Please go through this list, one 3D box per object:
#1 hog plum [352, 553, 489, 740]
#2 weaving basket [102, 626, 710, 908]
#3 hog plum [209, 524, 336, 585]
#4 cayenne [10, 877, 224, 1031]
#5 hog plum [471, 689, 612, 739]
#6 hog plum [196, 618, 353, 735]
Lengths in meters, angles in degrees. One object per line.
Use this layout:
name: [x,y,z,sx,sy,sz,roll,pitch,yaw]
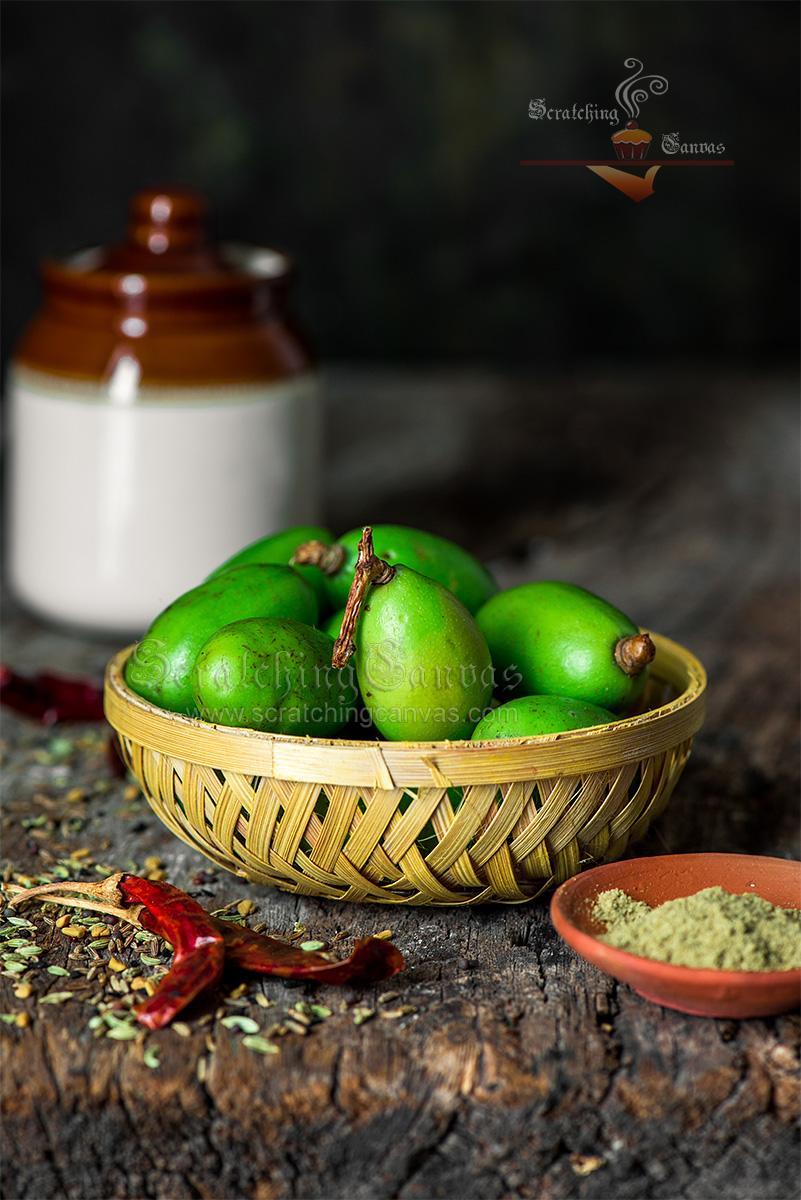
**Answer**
hog plum: [-0.002,0.006,0.457,0.053,0.042,0.069,-11,36,0]
weaving basket: [-0.008,0.043,0.446,0.135,0.039,0.129,4,8,37]
hog plum: [-0.062,-0.024,0.561,0.071,0.020,0.024,-19,-9,-40]
cayenne: [-0.093,0.125,0.437,0.042,0.017,0.074,-4,17,-38]
hog plum: [0.052,0.044,0.442,0.044,0.020,0.018,-2,59,-8]
hog plum: [-0.055,0.031,0.453,0.056,0.038,0.039,17,-30,-36]
